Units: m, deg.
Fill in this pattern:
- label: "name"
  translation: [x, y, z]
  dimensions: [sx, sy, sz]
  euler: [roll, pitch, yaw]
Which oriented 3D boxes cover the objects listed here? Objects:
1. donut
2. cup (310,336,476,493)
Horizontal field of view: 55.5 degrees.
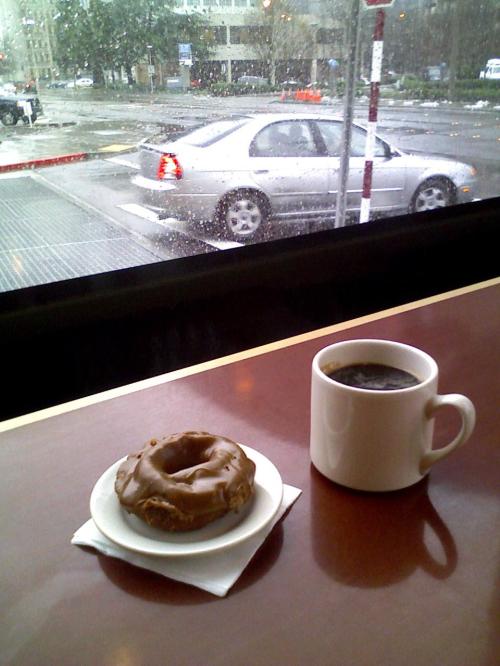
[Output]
- label: "donut"
  translation: [-0.033, 0.049, 0.206]
  dimensions: [0.039, 0.018, 0.047]
  euler: [14, 29, 24]
- label: "cup"
  translation: [0.081, 0.036, 0.281]
  dimensions: [0.085, 0.076, 0.068]
  euler: [13, 31, 24]
